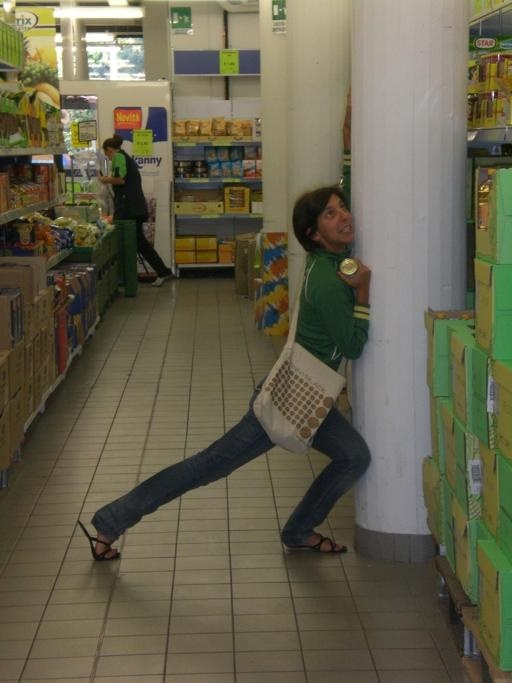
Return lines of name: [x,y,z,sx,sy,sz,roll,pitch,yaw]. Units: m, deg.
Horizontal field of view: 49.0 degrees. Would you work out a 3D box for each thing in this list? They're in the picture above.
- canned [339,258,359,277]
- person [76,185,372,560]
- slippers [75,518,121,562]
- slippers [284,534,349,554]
canned: [0.311,-0.244,1.876,0.062,0.058,0.037,0,6,10]
person: [-0.028,0.153,2.078,0.889,1.419,0.391,0,6,11]
slippers: [-0.620,0.791,2.216,0.075,0.101,0.244,-22,45,-39]
slippers: [0.244,0.793,2.252,0.248,0.060,0.092,0,12,3]
